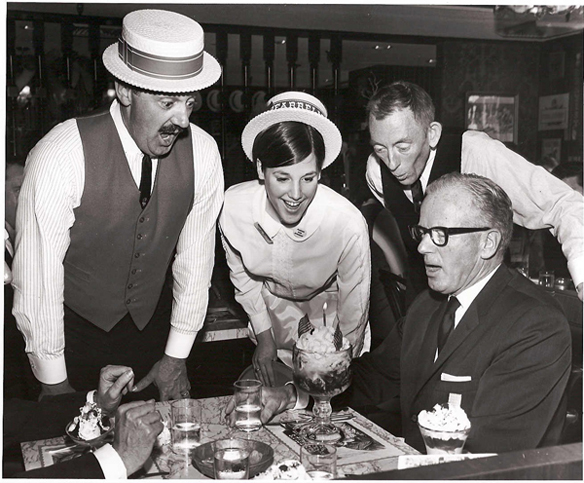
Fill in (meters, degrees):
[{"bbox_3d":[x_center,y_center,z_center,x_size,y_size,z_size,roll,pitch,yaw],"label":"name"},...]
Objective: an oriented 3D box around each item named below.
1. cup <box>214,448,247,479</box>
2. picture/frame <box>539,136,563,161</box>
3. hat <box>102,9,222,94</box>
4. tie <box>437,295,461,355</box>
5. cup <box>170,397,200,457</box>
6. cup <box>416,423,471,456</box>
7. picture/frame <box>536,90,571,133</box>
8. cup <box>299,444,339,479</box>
[{"bbox_3d":[-0.183,0.659,1.903,0.082,0.068,0.082,0,1,0],"label":"cup"},{"bbox_3d":[1.184,-0.431,2.933,0.094,0.147,0.023,1,-7,6],"label":"picture/frame"},{"bbox_3d":[-0.538,-0.782,2.579,0.395,0.123,0.380,37,48,15],"label":"hat"},{"bbox_3d":[0.665,0.345,2.758,0.060,0.321,0.074,4,-9,41],"label":"tie"},{"bbox_3d":[-0.359,0.619,2.152,0.102,0.162,0.141,-1,7,-9],"label":"cup"},{"bbox_3d":[0.500,0.642,2.091,0.103,0.089,0.113,0,-1,21],"label":"cup"},{"bbox_3d":[1.230,-0.615,3.009,0.130,0.189,0.026,-1,36,21],"label":"picture/frame"},{"bbox_3d":[0.083,0.683,2.002,0.093,0.108,0.089,1,1,0],"label":"cup"}]
